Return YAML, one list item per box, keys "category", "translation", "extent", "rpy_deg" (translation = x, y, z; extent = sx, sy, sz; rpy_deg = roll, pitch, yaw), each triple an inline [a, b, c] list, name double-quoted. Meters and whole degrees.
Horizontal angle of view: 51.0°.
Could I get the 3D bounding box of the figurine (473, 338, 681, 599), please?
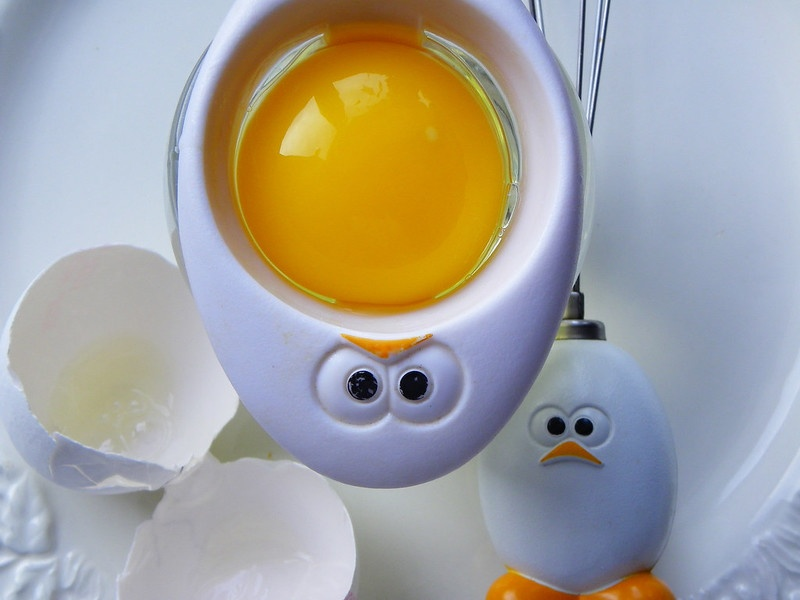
- category: "figurine"
  translation: [0.185, 0.181, 0.881]
  extent: [0.226, 0.382, 0.166]
  rpy_deg: [-2, -4, 2]
